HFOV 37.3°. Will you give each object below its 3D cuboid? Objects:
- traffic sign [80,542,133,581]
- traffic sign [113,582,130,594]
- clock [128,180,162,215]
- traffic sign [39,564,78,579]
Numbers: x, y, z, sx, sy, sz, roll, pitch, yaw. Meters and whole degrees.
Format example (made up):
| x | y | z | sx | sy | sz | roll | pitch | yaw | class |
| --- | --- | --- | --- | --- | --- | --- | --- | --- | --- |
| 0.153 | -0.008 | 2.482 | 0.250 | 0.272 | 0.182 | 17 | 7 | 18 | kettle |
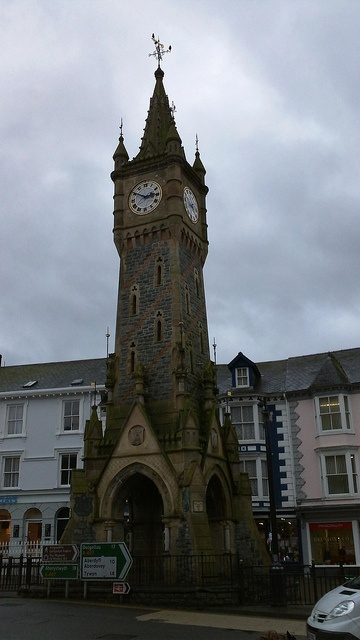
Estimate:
| x | y | z | sx | sy | sz | roll | pitch | yaw | class |
| --- | --- | --- | --- | --- | --- | --- | --- | --- | --- |
| -2.234 | 7.143 | 15.842 | 1.359 | 0.998 | 0.098 | -16 | -23 | 31 | traffic sign |
| -1.720 | 7.809 | 15.628 | 0.418 | 0.309 | 0.074 | -5 | -8 | 18 | traffic sign |
| -1.660 | -6.028 | 26.384 | 1.708 | 1.853 | 0.192 | -7 | -20 | 23 | clock |
| -3.778 | 7.838 | 16.702 | 1.630 | 0.432 | 0.252 | -19 | -26 | 36 | traffic sign |
